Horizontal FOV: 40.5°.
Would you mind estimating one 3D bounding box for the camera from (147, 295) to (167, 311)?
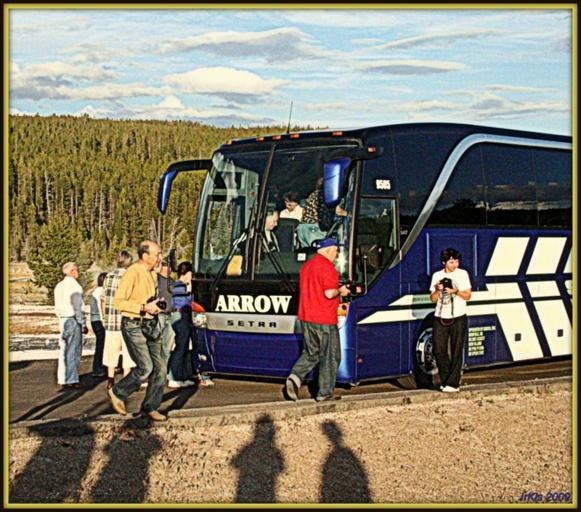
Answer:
[{"bbox_3d":[-1.772,0.601,10.421,0.238,0.098,0.161,35,-22,34],"label":"camera"}]

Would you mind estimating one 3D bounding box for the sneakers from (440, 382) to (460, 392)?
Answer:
[{"bbox_3d":[2.505,2.063,12.291,0.299,0.145,0.113,-8,-10,40],"label":"sneakers"}]

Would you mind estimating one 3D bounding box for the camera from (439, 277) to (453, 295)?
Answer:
[{"bbox_3d":[2.342,0.433,11.772,0.157,0.237,0.082,-1,-9,12],"label":"camera"}]

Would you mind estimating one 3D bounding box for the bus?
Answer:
[{"bbox_3d":[2.898,-0.060,15.082,3.185,3.944,9.424,-1,-3,40],"label":"bus"}]

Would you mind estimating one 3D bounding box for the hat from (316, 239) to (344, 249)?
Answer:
[{"bbox_3d":[0.556,-0.195,11.386,0.233,0.109,0.178,9,-14,-24],"label":"hat"}]
